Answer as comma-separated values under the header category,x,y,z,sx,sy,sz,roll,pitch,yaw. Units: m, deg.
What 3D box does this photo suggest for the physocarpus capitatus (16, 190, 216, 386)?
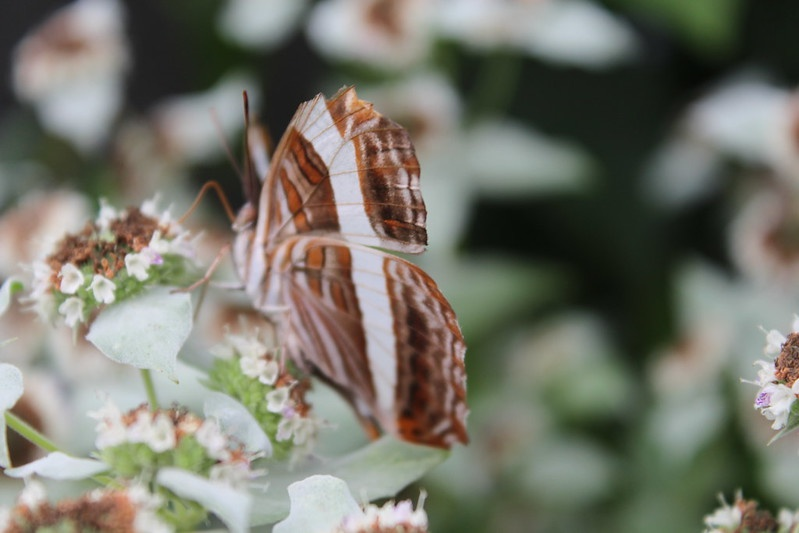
category,x,y,z,sx,sy,sz,roll,pitch,yaw
physocarpus capitatus,-0.348,0.020,1.197,0.218,0.156,0.145,10,26,22

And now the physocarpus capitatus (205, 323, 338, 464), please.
category,x,y,z,sx,sy,sz,roll,pitch,yaw
physocarpus capitatus,-0.165,0.148,1.235,0.067,0.161,0.152,-33,11,3

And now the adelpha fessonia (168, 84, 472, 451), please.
category,x,y,z,sx,sy,sz,roll,pitch,yaw
adelpha fessonia,-0.053,0.006,1.351,0.415,0.315,0.413,29,18,-13
